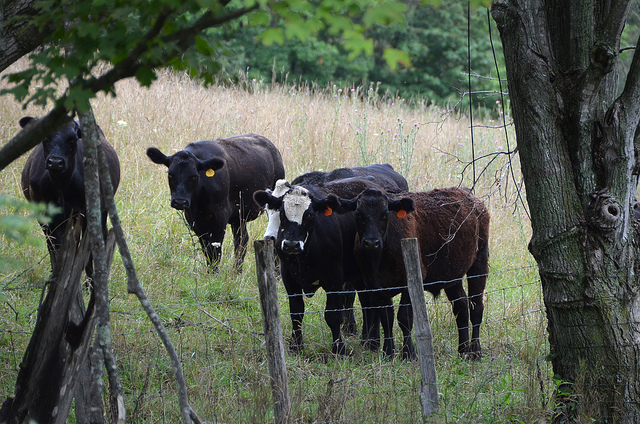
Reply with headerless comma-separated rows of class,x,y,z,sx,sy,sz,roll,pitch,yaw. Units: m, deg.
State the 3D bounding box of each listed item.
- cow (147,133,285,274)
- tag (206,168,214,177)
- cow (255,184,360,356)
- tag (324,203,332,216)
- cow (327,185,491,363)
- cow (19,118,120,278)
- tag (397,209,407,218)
cow,-1.539,-0.060,13.600,1.046,2.226,3.025,6,9,25
tag,-1.659,-0.558,12.540,0.111,0.106,0.274,-1,-12,-6
cow,0.027,0.829,11.493,0.875,2.156,2.936,1,-1,15
tag,0.094,-0.026,10.859,0.108,0.148,0.353,-1,5,2
cow,1.373,0.852,11.284,2.706,2.210,0.993,3,2,-41
cow,-3.696,-0.208,12.173,1.174,2.191,3.579,-2,6,-13
tag,1.045,0.036,10.731,0.081,0.098,0.024,5,-1,16
